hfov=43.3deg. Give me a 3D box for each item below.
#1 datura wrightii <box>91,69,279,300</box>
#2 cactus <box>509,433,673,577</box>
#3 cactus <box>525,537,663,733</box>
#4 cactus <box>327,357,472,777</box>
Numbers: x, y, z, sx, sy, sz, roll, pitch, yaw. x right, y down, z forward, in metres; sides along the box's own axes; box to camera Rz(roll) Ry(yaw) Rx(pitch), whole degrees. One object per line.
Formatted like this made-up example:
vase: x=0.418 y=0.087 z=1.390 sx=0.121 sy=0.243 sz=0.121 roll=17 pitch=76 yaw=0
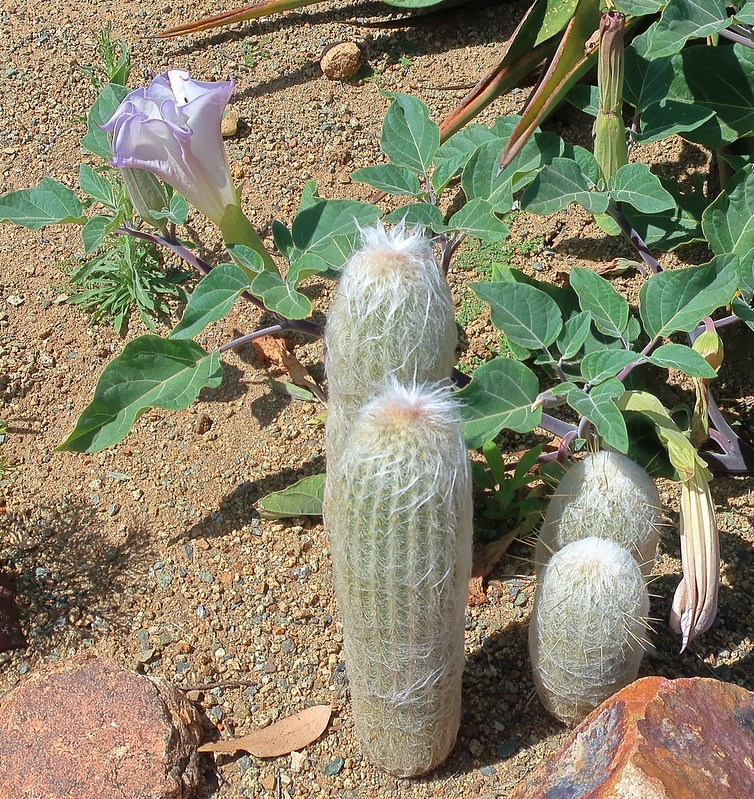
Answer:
datura wrightii: x=-0.416 y=-0.501 z=2.018 sx=0.195 sy=0.325 sz=0.252 roll=15 pitch=47 yaw=28
cactus: x=0.484 y=0.197 z=1.925 sx=0.177 sy=0.249 sz=0.155 roll=9 pitch=46 yaw=35
cactus: x=0.416 y=0.467 z=1.862 sx=0.193 sy=0.437 sz=0.162 roll=7 pitch=44 yaw=21
cactus: x=0.075 y=0.362 z=1.798 sx=0.221 sy=0.841 sz=0.375 roll=16 pitch=48 yaw=29
